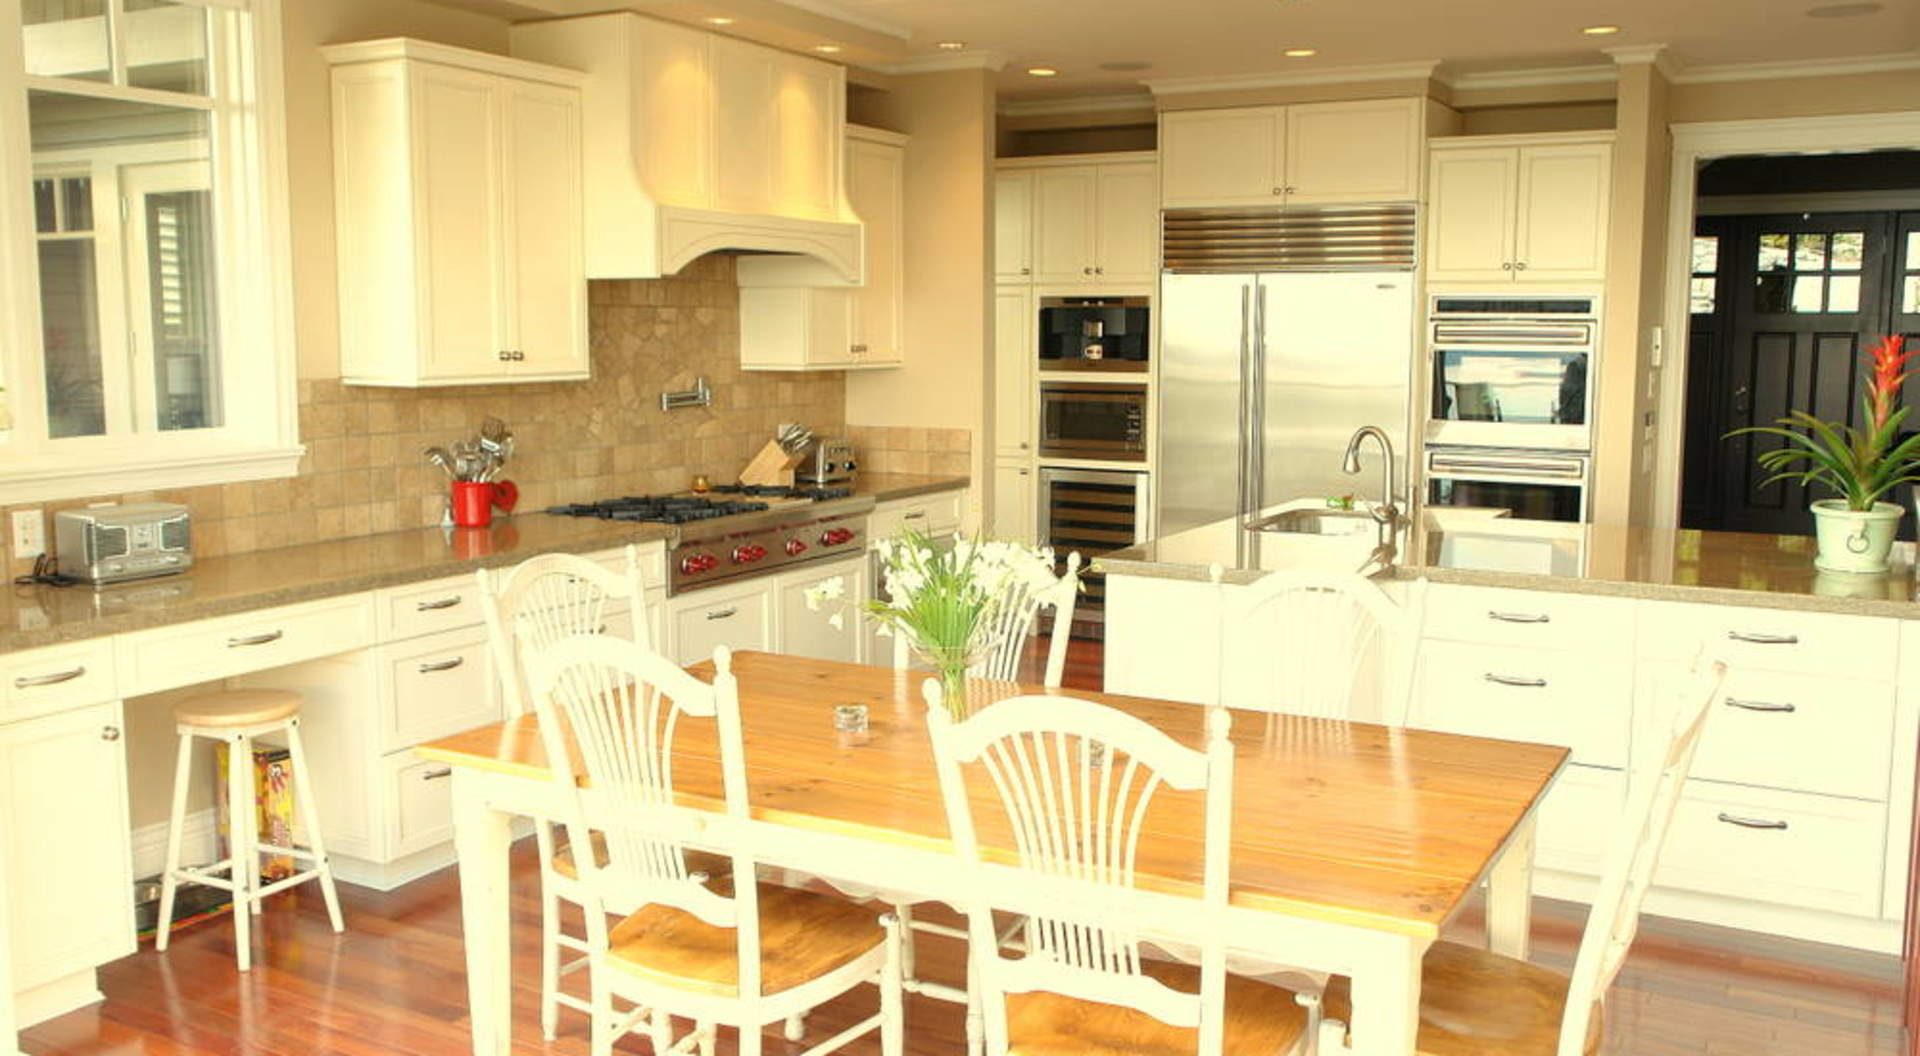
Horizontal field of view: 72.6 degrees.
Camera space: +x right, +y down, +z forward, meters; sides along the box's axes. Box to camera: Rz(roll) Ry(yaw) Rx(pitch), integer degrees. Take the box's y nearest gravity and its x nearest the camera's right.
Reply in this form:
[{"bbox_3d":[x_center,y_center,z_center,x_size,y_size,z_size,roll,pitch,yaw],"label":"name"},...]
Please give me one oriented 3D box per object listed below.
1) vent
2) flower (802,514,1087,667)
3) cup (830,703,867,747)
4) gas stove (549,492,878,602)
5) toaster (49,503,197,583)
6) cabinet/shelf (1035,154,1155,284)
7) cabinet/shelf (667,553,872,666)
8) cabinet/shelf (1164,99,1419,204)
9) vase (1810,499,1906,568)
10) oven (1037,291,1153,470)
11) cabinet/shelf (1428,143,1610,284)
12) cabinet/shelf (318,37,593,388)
[{"bbox_3d":[-1.430,-1.968,6.788,0.754,1.045,1.835,3,6,30],"label":"vent"},{"bbox_3d":[-0.046,0.359,4.366,0.648,0.315,0.579,-10,19,-24],"label":"flower"},{"bbox_3d":[-0.359,0.657,4.416,0.110,0.098,0.134,-7,8,-44],"label":"cup"},{"bbox_3d":[-1.229,0.065,7.137,0.887,0.319,1.273,5,12,40],"label":"gas stove"},{"bbox_3d":[-3.407,0.065,5.425,0.244,0.220,0.391,10,12,34],"label":"toaster"},{"bbox_3d":[0.815,-2.084,8.960,1.070,0.813,0.359,-10,17,-31],"label":"cabinet/shelf"},{"bbox_3d":[-0.996,0.401,6.567,0.701,0.369,0.247,-10,19,-43],"label":"cabinet/shelf"},{"bbox_3d":[2.242,-2.421,8.543,1.892,0.631,0.498,12,23,41],"label":"cabinet/shelf"},{"bbox_3d":[3.726,0.020,5.518,0.390,0.218,0.334,-2,9,-8],"label":"vase"},{"bbox_3d":[0.731,-1.019,9.113,1.010,1.146,0.655,-3,8,-34],"label":"oven"},{"bbox_3d":[3.582,-1.954,8.178,0.446,0.855,1.169,-19,22,-33],"label":"cabinet/shelf"},{"bbox_3d":[-2.475,-1.490,6.438,0.680,1.480,1.226,9,16,17],"label":"cabinet/shelf"}]
